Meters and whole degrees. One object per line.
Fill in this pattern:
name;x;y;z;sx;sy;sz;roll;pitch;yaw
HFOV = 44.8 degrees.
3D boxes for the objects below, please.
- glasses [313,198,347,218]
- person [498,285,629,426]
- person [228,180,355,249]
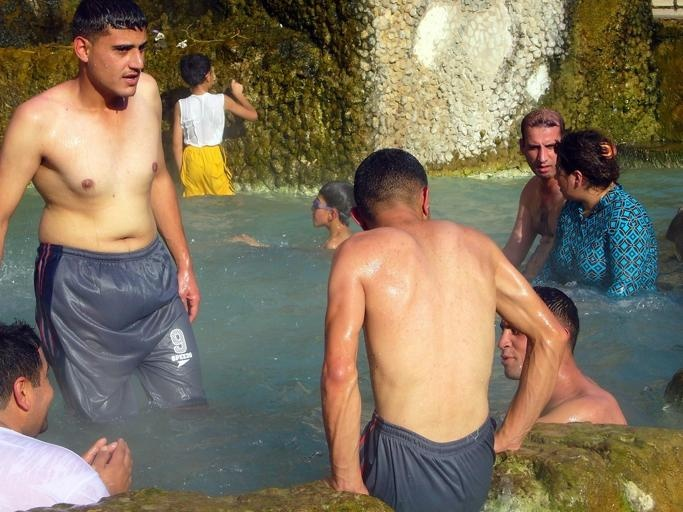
glasses;-0.109;-0.478;8.232;0.236;0.078;0.210;17;6;-9
person;1.461;0.673;5.632;0.678;0.940;1.177;-2;5;3
person;-0.408;-0.340;8.383;1.017;0.476;0.754;-9;17;-10
